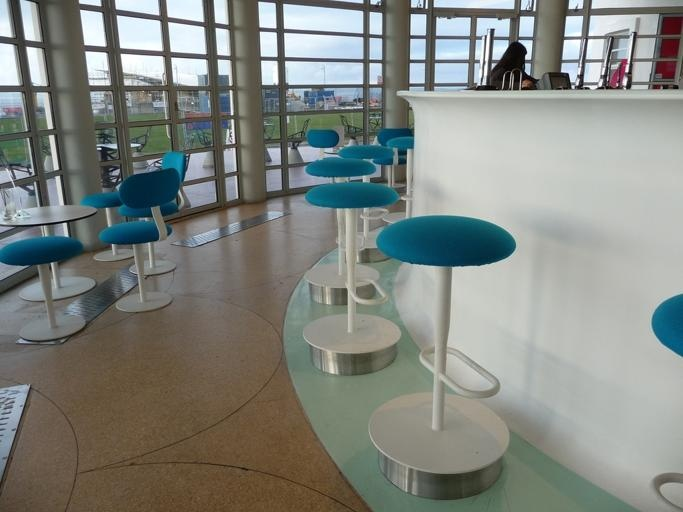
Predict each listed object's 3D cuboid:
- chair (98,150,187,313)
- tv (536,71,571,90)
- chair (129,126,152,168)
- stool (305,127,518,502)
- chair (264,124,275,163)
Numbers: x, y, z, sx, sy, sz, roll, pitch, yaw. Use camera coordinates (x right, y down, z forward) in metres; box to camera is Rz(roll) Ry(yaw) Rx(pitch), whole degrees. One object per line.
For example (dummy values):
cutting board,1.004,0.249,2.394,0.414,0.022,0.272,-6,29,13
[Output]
chair,-1.662,-0.198,3.959,0.717,1.090,0.947,-10,22,-16
tv,1.481,-1.225,3.242,0.201,0.105,0.357,4,20,20
chair,-2.514,-1.365,5.785,0.258,0.325,0.196,-6,17,-17
stool,0.073,0.474,2.468,0.603,0.888,1.423,-7,18,-18
chair,-1.227,-1.858,7.668,0.117,0.670,0.161,14,29,37
